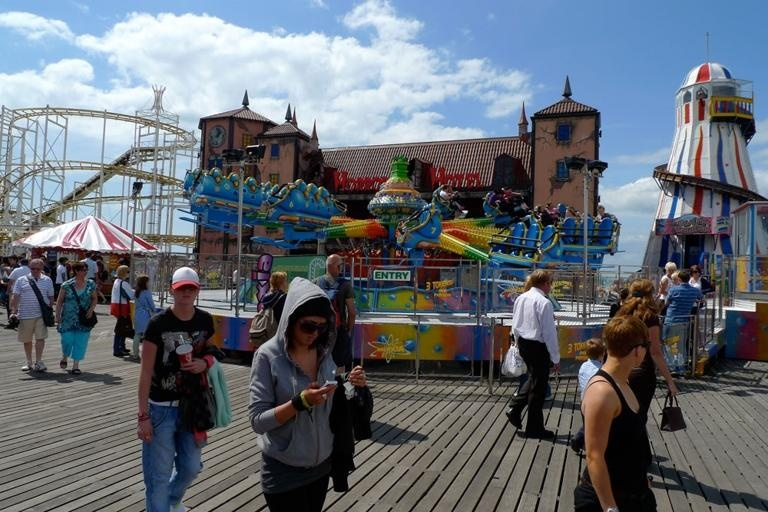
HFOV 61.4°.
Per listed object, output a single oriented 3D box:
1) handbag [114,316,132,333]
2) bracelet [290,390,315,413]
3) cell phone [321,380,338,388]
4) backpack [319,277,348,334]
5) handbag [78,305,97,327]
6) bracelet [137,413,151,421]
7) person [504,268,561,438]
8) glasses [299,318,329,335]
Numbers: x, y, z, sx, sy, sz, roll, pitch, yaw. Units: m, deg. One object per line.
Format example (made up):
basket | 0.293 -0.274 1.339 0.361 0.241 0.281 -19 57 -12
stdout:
handbag | -6.060 1.596 14.984 0.436 0.471 0.225 5 15 -7
bracelet | -0.900 1.583 7.121 0.230 0.228 0.146 2 3 16
cell phone | -0.601 1.413 7.167 0.161 0.087 0.226 1 4 -2
backpack | -0.721 0.741 10.679 0.644 0.903 0.475 1 12 25
handbag | -6.226 1.289 13.484 0.119 0.440 0.342 -7 25 41
bracelet | -3.020 2.027 8.109 0.125 0.101 0.074 0 4 -21
person | 2.495 1.602 10.682 0.793 2.747 0.639 2 3 20
glasses | -0.782 0.778 7.258 0.330 0.165 0.119 1 3 -13
